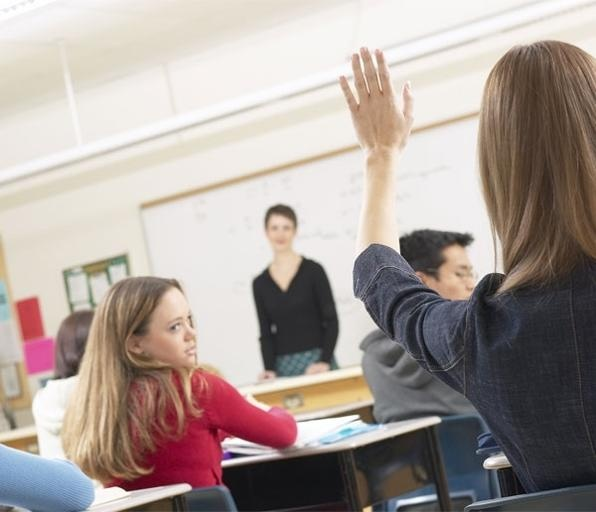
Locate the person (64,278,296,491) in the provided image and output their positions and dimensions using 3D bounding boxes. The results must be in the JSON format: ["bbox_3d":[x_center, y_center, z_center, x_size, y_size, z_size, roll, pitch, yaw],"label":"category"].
[{"bbox_3d":[-0.328,0.385,2.332,0.356,0.828,0.555,13,29,43],"label":"person"}]
